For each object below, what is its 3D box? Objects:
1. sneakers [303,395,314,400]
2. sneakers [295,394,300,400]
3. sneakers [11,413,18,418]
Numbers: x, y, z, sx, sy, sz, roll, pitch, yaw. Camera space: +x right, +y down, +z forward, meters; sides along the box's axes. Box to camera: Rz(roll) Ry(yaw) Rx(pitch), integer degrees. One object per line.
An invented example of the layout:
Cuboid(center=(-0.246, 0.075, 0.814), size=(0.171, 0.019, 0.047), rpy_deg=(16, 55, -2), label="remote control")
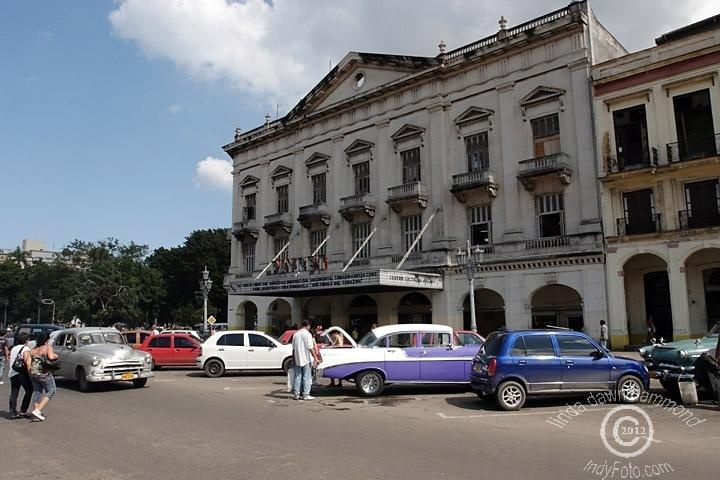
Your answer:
Cuboid(center=(-1.847, 5.649, 22.662), size=(0.380, 0.134, 0.254), rpy_deg=(-2, 3, -18), label="sneakers")
Cuboid(center=(-2.216, 5.631, 22.680), size=(0.226, 0.137, 0.264), rpy_deg=(-2, 3, -6), label="sneakers")
Cuboid(center=(-10.947, 5.608, 20.141), size=(0.219, 0.139, 0.247), rpy_deg=(-3, 4, -28), label="sneakers")
